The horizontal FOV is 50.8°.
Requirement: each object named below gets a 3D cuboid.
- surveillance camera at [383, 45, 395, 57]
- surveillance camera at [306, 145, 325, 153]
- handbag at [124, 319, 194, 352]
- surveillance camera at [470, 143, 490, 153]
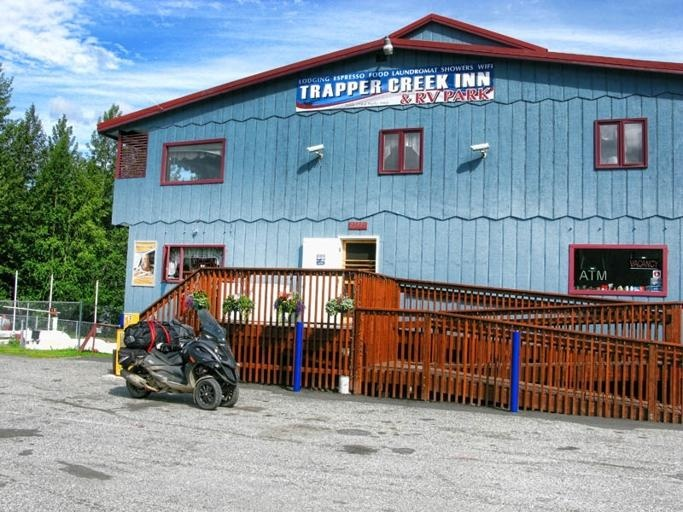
[{"bbox_3d":[1.302,-5.792,20.350,0.197,0.261,0.267,6,1,6],"label":"surveillance camera"},{"bbox_3d":[-0.777,-3.133,21.145,0.366,0.096,0.261,-6,-16,0],"label":"surveillance camera"},{"bbox_3d":[-3.536,1.493,13.602,0.890,0.415,0.683,6,7,-19],"label":"handbag"},{"bbox_3d":[3.775,-2.982,19.684,0.525,0.267,0.313,2,2,9],"label":"surveillance camera"}]
